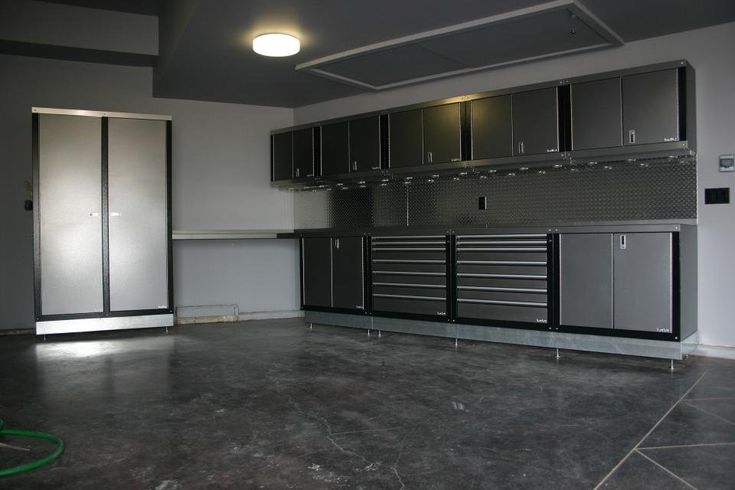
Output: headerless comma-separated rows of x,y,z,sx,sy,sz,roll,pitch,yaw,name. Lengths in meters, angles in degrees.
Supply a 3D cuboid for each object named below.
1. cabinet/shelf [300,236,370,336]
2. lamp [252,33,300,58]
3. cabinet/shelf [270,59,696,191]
-0.462,0.658,7.545,1.404,1.379,0.806,-1,-1,40,cabinet/shelf
-1.123,-2.472,6.133,0.571,0.183,0.343,-2,6,-8,lamp
1.308,-1.507,6.680,5.147,1.186,0.375,2,7,27,cabinet/shelf
